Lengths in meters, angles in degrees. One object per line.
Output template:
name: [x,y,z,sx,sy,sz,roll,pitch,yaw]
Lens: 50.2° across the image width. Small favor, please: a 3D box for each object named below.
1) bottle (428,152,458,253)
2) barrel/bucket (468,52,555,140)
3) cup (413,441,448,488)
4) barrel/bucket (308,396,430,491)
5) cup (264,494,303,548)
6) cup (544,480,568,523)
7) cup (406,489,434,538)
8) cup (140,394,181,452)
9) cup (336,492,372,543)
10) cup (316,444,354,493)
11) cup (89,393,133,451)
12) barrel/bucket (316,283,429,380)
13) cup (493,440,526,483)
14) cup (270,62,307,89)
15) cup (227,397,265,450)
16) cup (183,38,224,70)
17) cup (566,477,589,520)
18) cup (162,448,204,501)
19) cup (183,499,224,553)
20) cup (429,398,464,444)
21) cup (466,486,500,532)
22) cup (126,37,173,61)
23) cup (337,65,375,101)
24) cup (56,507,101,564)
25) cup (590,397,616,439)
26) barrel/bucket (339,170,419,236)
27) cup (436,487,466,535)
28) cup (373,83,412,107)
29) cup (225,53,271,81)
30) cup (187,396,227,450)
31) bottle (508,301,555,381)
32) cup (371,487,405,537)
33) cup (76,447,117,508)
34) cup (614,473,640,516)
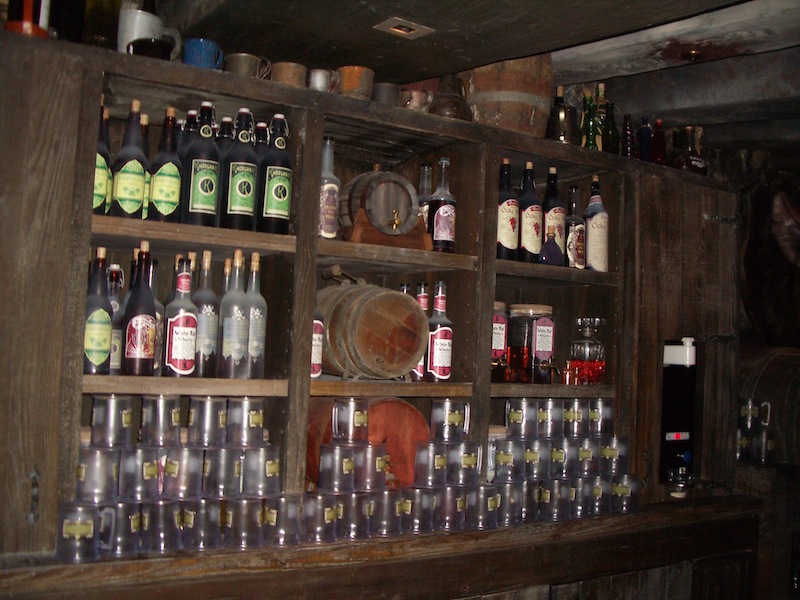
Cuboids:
bottle: [0.207,-0.406,3.648,0.132,0.415,0.128,-4,7,0]
barrel/bucket: [0.485,-0.867,3.839,0.358,0.469,0.360,1,-3,0]
cup: [0.124,0.663,3.461,0.153,0.163,0.155,0,-11,0]
barrel/bucket: [-0.073,0.535,3.482,0.391,0.406,0.554,11,-8,-29]
cup: [-0.422,0.815,3.116,0.169,0.177,0.159,0,-10,0]
cup: [0.640,0.837,3.640,0.086,0.137,0.087,0,-11,0]
cup: [0.062,0.836,3.393,0.149,0.156,0.142,-1,-9,0]
cup: [-0.864,0.437,3.057,0.149,0.195,0.125,1,-4,-2]
cup: [-0.179,0.828,3.305,0.156,0.170,0.152,1,-6,0]
cup: [-0.237,0.650,3.323,0.169,0.179,0.162,1,-8,0]
cup: [-1.018,0.427,3.014,0.132,0.185,0.165,2,-4,-21]
barrel/bucket: [-0.158,0.227,3.512,0.366,0.502,0.374,6,4,0]
cup: [0.458,0.672,3.572,0.158,0.168,0.161,0,-3,0]
cup: [-0.422,-0.866,3.249,0.118,0.083,0.116,3,-7,0]
cup: [-0.587,0.457,3.193,0.155,0.164,0.149,0,-10,0]
cup: [-0.729,-0.919,3.215,0.160,0.113,0.122,2,-1,-1]
cup: [0.765,0.854,3.684,0.108,0.176,0.108,2,-15,0]
cup: [-0.769,0.620,3.031,0.179,0.251,0.160,2,-9,-12]
cup: [-0.690,0.810,3.084,0.167,0.178,0.163,-1,-11,0]
cup: [0.209,0.498,3.510,0.185,0.180,0.144,1,-4,-3]
cup: [0.334,0.847,3.499,0.155,0.166,0.149,2,-11,0]
cup: [-0.896,-0.907,3.043,0.127,0.094,0.091,-3,22,-16]
cup: [-0.177,-0.864,3.424,0.144,0.106,0.129,1,-5,26]
cup: [-1.087,0.789,2.884,0.121,0.194,0.133,-5,-19,-2]
cup: [0.901,0.519,3.833,0.112,0.168,0.106,2,-4,0]
barrel/bucket: [-0.084,-0.392,3.559,0.283,0.272,0.262,1,2,0]
cup: [0.198,0.834,3.440,0.131,0.185,0.133,1,-5,0]
cup: [-0.036,-0.822,3.478,0.132,0.102,0.097,6,1,-2]
cup: [-0.573,-0.880,3.247,0.107,0.099,0.157,18,18,42]
cup: [-0.705,0.449,3.171,0.166,0.179,0.163,1,-2,0]
bottle: [0.586,0.207,3.910,0.229,0.346,0.217,1,-3,0]
cup: [-0.063,0.832,3.345,0.148,0.159,0.143,3,-7,0]
cup: [-1.025,0.602,2.911,0.137,0.191,0.109,2,-4,-25]
cup: [0.983,0.855,3.729,0.149,0.151,0.145,1,-5,0]
